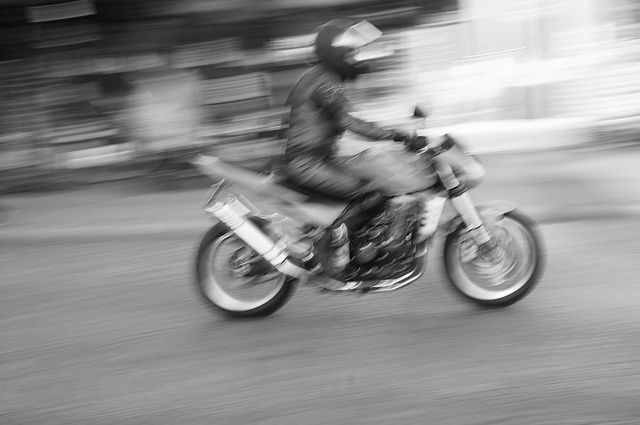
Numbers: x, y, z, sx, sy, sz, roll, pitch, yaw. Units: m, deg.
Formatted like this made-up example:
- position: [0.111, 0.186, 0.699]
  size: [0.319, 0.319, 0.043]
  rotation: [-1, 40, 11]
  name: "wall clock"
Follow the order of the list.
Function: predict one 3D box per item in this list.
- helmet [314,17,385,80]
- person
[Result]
- position: [0.232, -1.249, 4.645]
  size: [0.492, 0.441, 0.209]
  rotation: [-8, 23, 3]
  name: "helmet"
- position: [0.161, -0.589, 4.669]
  size: [0.984, 1.782, 0.926]
  rotation: [-14, 23, -6]
  name: "person"
